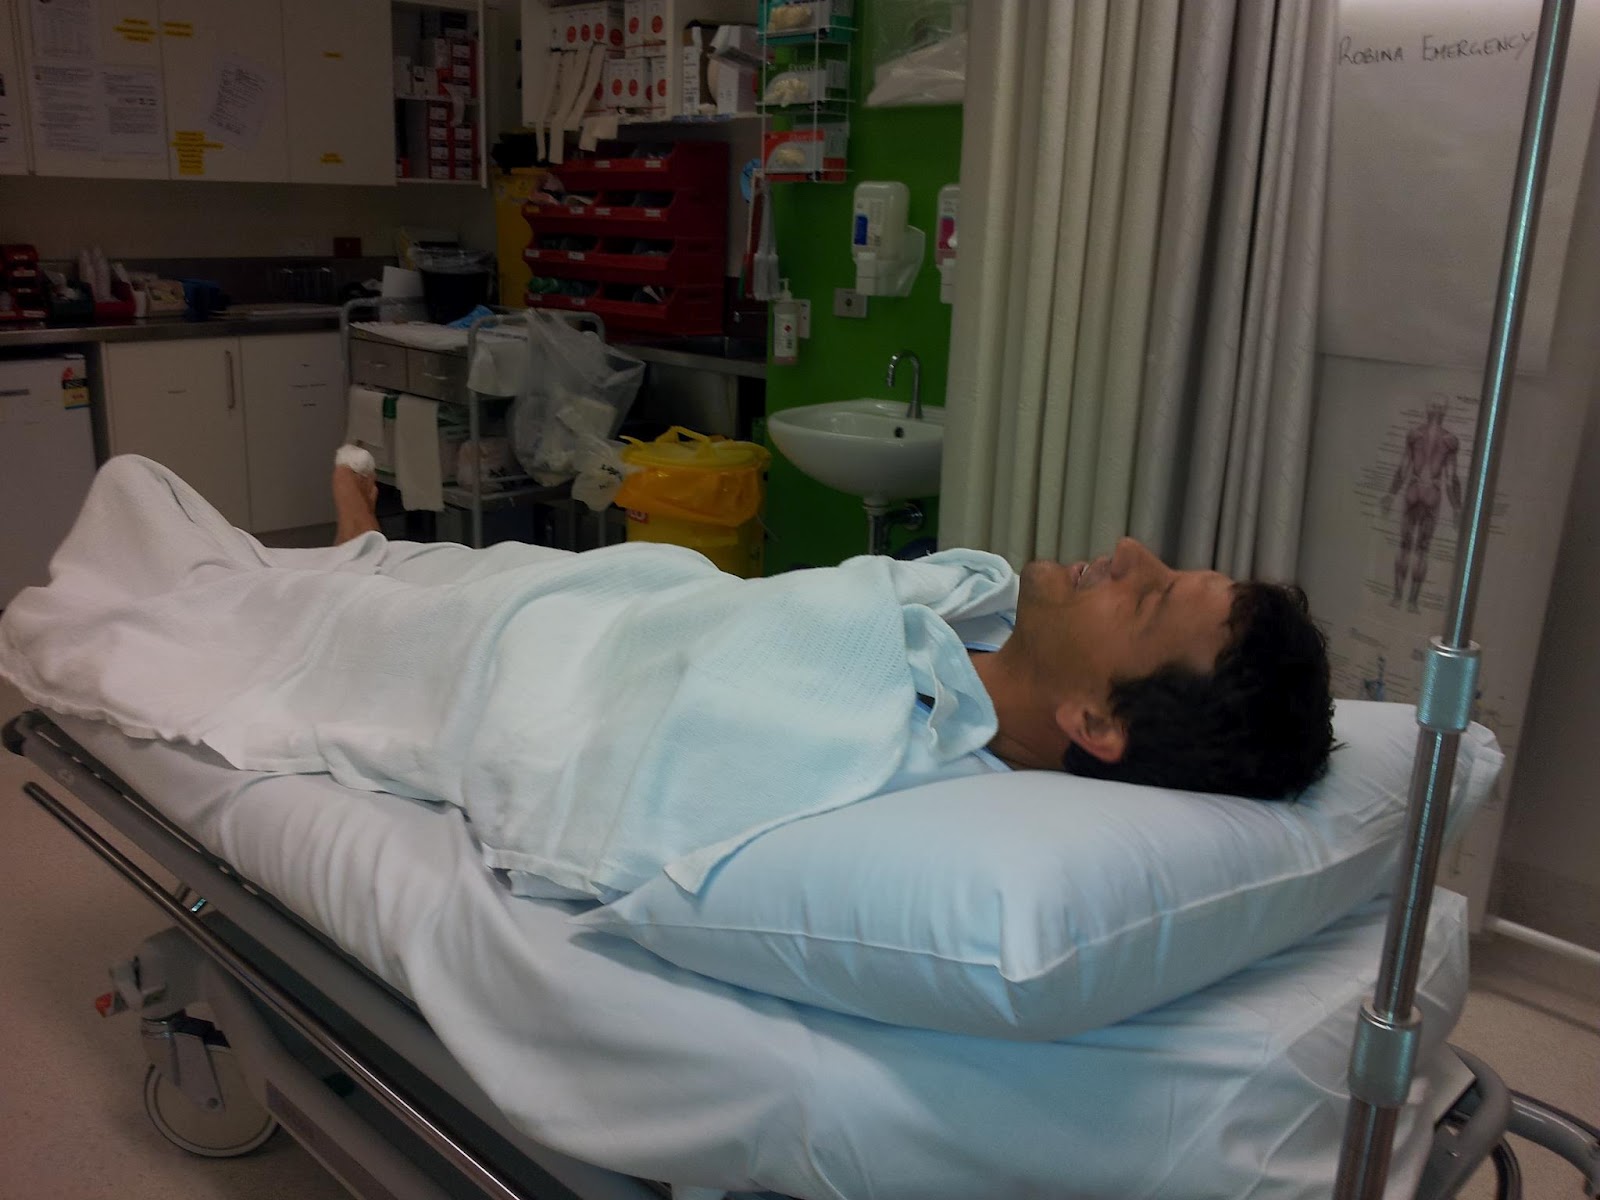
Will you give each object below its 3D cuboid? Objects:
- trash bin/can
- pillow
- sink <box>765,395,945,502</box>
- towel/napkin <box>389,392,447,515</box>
[{"bbox_3d":[-0.406,-0.450,4.336,0.483,0.728,0.526,13,17,36],"label":"trash bin/can"},{"bbox_3d":[0.322,0.317,1.377,0.418,0.187,0.658,-10,-4,-45],"label":"pillow"},{"bbox_3d":[0.220,-0.462,3.591,0.337,0.172,0.486,-8,18,-29],"label":"sink"},{"bbox_3d":[-1.476,-0.585,4.555,0.065,0.605,0.353,-12,17,-41],"label":"towel/napkin"}]
